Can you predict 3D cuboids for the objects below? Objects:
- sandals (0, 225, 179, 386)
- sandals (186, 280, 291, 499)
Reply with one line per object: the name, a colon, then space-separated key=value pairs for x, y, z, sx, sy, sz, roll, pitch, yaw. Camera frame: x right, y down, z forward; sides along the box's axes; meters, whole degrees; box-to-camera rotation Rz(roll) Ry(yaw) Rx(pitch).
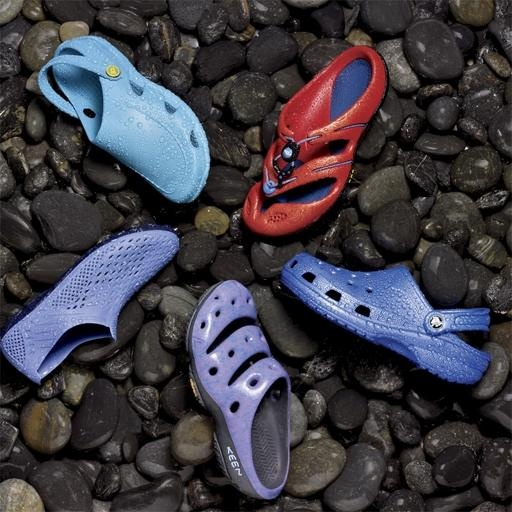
sandals: x=-0.474 y=0.132 z=1.926 sx=0.618 sy=0.119 sz=0.251 roll=-38 pitch=80 yaw=-10
sandals: x=-0.071 y=0.350 z=1.868 sx=0.279 sy=0.237 sz=0.652 roll=-1 pitch=81 yaw=-40
